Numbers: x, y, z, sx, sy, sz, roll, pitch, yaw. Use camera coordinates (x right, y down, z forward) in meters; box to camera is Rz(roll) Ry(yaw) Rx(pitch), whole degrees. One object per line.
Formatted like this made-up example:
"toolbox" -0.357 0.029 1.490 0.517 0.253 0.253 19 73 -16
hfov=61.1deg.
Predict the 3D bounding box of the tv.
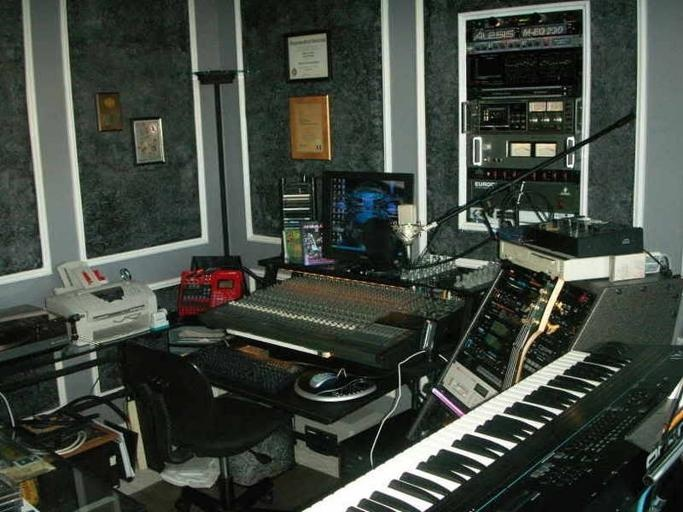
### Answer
"tv" 0.158 -0.223 3.179 0.569 0.412 0.057 7 14 34

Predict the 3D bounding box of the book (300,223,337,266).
"book" -0.133 -0.068 3.427 0.278 0.226 0.221 -1 3 30

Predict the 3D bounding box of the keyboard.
"keyboard" -0.483 0.501 2.744 0.452 0.068 0.222 22 39 -24

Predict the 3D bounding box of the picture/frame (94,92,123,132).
"picture/frame" -1.489 -0.918 3.719 0.021 0.247 0.166 10 18 44

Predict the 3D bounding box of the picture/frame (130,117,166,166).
"picture/frame" -1.310 -0.770 3.903 0.042 0.346 0.294 18 33 39

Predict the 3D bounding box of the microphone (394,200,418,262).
"microphone" 0.297 -0.135 2.644 0.093 0.195 0.166 -2 12 5

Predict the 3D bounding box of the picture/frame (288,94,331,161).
"picture/frame" -0.200 -0.839 3.869 0.307 0.419 0.057 6 16 35

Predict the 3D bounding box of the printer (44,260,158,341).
"printer" -1.396 0.259 3.337 0.526 0.365 0.518 -12 15 -40

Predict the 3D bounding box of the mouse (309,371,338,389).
"mouse" -0.079 0.544 2.537 0.093 0.023 0.061 -9 12 -41

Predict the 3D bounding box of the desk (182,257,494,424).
"desk" -0.041 0.339 2.996 1.098 0.252 0.720 8 28 36

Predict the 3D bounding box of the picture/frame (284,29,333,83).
"picture/frame" -0.224 -1.304 3.808 0.374 0.311 0.026 -22 36 -36
